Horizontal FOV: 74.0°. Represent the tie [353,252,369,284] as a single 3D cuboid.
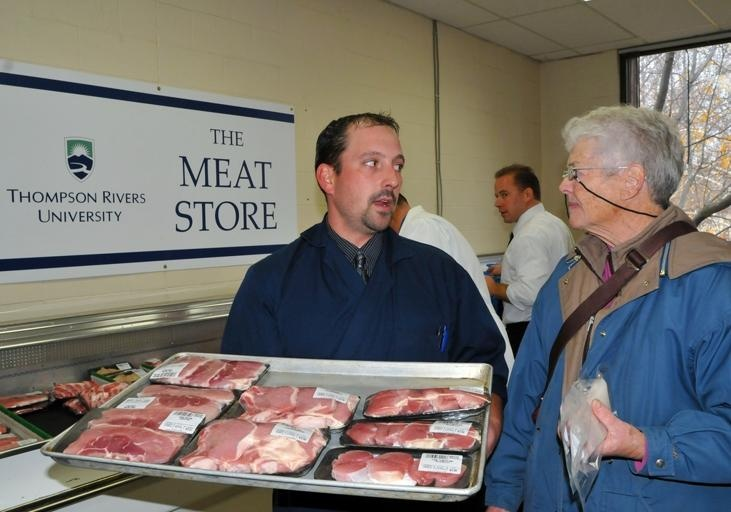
[{"bbox_3d":[-0.022,0.040,1.723,0.054,0.092,0.025,-7,-13,-25],"label":"tie"}]
